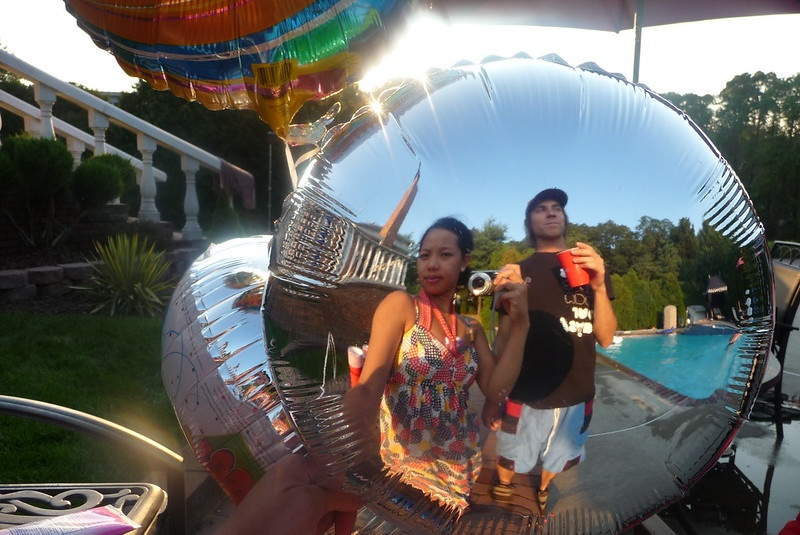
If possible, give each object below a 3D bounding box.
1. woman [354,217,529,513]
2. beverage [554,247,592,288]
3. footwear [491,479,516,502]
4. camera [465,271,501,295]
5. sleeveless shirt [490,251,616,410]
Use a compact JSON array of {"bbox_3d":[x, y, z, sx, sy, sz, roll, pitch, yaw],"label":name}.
[{"bbox_3d":[0.131,0.550,1.470,0.511,1.367,0.410,-1,28,0],"label":"woman"},{"bbox_3d":[0.489,0.017,1.335,0.098,0.104,0.097,10,-43,-34],"label":"beverage"},{"bbox_3d":[0.317,0.687,1.362,0.048,0.069,0.076,3,-30,3],"label":"footwear"},{"bbox_3d":[0.242,0.040,1.310,0.099,0.102,0.060,1,-2,21],"label":"camera"},{"bbox_3d":[0.451,0.179,1.230,0.270,0.445,0.106,2,9,1],"label":"sleeveless shirt"}]
